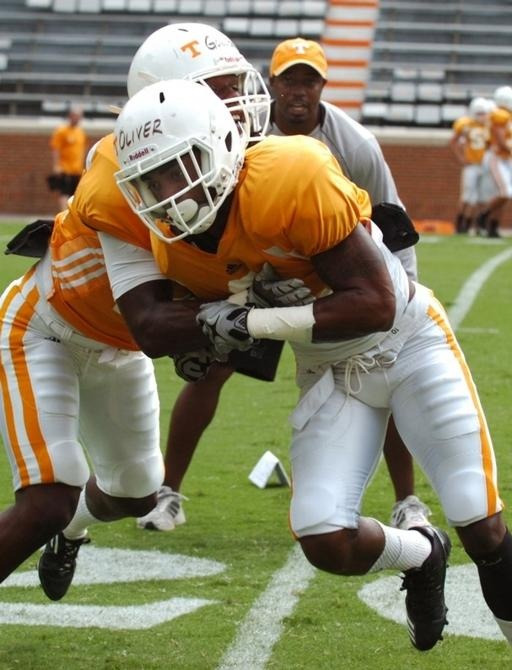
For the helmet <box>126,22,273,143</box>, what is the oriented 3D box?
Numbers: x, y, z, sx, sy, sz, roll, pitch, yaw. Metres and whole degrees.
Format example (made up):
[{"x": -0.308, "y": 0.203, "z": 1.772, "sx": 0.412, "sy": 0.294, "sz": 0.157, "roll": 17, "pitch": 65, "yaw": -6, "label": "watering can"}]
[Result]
[{"x": -0.146, "y": -0.695, "z": 2.050, "sx": 0.386, "sy": 0.244, "sz": 0.294, "roll": 14, "pitch": 31, "yaw": 33, "label": "helmet"}]

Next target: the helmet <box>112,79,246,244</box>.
[{"x": -0.151, "y": -0.373, "z": 1.615, "sx": 0.297, "sy": 0.342, "sz": 0.224, "roll": -5, "pitch": 13, "yaw": -8, "label": "helmet"}]

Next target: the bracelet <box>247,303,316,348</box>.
[{"x": 0.062, "y": -0.021, "z": 1.647, "sx": 0.135, "sy": 0.066, "sz": 0.055, "roll": -2, "pitch": 5, "yaw": 19, "label": "bracelet"}]

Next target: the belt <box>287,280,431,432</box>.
[{"x": 0.258, "y": 0.050, "z": 1.862, "sx": 0.300, "sy": 0.293, "sz": 0.210, "roll": -12, "pitch": -8, "yaw": 40, "label": "belt"}]

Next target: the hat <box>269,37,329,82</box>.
[{"x": 0.167, "y": -1.137, "z": 3.096, "sx": 0.256, "sy": 0.156, "sz": 0.307, "roll": -4, "pitch": 25, "yaw": -6, "label": "hat"}]

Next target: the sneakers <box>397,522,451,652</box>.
[{"x": 0.411, "y": 0.585, "z": 1.816, "sx": 0.112, "sy": 0.271, "sz": 0.166, "roll": -2, "pitch": -5, "yaw": 41, "label": "sneakers"}]

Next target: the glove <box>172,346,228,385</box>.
[{"x": -0.126, "y": 0.060, "z": 1.888, "sx": 0.119, "sy": 0.098, "sz": 0.086, "roll": -36, "pitch": 4, "yaw": 8, "label": "glove"}]

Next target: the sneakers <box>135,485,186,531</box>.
[{"x": -0.313, "y": 0.593, "z": 2.565, "sx": 0.096, "sy": 0.078, "sz": 0.212, "roll": 0, "pitch": -10, "yaw": 14, "label": "sneakers"}]

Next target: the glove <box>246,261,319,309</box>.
[{"x": 0.020, "y": -0.102, "z": 1.687, "sx": 0.223, "sy": 0.063, "sz": 0.123, "roll": 12, "pitch": -4, "yaw": 1, "label": "glove"}]

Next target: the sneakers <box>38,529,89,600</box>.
[{"x": -0.547, "y": 0.631, "z": 2.166, "sx": 0.111, "sy": 0.079, "sz": 0.218, "roll": -23, "pitch": 43, "yaw": 17, "label": "sneakers"}]

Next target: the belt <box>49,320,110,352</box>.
[{"x": -0.466, "y": 0.013, "z": 2.003, "sx": 0.114, "sy": 0.034, "sz": 0.077, "roll": 25, "pitch": -8, "yaw": -15, "label": "belt"}]
